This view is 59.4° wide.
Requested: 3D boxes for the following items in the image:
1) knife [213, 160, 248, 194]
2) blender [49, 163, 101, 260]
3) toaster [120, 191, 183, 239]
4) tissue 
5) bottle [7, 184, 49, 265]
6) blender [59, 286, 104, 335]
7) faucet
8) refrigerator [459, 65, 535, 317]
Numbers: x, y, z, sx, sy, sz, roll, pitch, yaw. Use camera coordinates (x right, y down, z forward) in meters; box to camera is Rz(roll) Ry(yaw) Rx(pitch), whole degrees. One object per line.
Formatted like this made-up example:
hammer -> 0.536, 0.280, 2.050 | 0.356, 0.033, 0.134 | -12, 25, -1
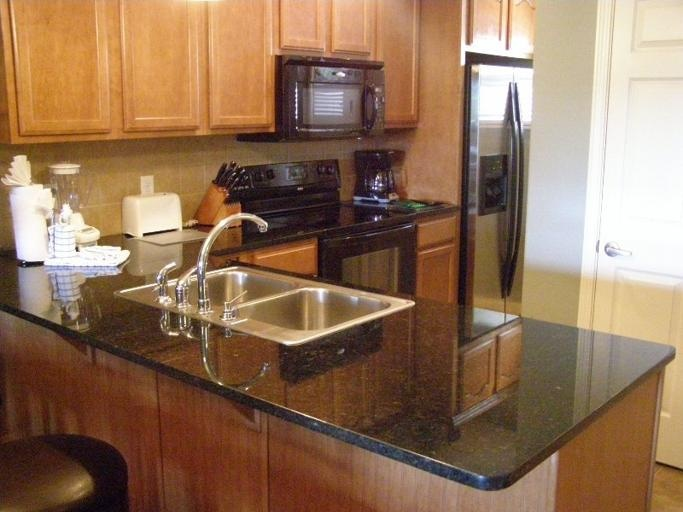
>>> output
knife -> -0.663, -0.466, 3.549 | 0.176, 0.173, 0.083 | -11, 17, -33
blender -> -1.285, -0.234, 2.891 | 0.177, 0.427, 0.686 | -6, 15, -17
toaster -> -1.062, -0.237, 3.355 | 0.192, 0.213, 0.279 | 12, 19, 42
tissue  -> -1.063, -0.270, 3.329 | 0.158, 0.286, 0.305 | 13, 19, 33
bottle -> -1.362, -0.139, 2.626 | 0.150, 0.344, 0.114 | -7, 16, -21
blender -> -0.891, 0.191, 2.063 | 0.091, 0.115, 0.295 | 2, 19, -10
faucet -> -0.379, 0.022, 2.069 | 0.245, 0.366, 0.279 | -4, 15, -12
refrigerator -> 1.128, -0.500, 4.434 | 0.713, 1.903, 0.266 | -14, 19, -40
